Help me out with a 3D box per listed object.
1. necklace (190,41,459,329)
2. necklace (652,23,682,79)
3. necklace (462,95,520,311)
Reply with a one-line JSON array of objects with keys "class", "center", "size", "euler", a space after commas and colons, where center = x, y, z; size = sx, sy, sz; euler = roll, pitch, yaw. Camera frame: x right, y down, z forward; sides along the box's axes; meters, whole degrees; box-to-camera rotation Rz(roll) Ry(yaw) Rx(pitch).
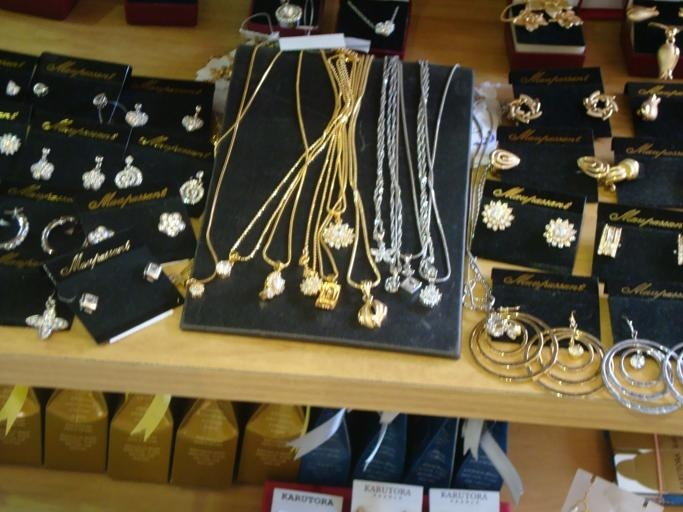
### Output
[{"class": "necklace", "center": [-0.030, -0.158, 1.433], "size": [0.521, 0.494, 0.369], "euler": [5, 16, 1]}, {"class": "necklace", "center": [0.767, -0.484, 1.604], "size": [0.083, 0.135, 0.030], "euler": [5, -14, 9]}, {"class": "necklace", "center": [0.305, -0.142, 1.464], "size": [0.111, 0.508, 0.039], "euler": [5, -16, -12]}]
